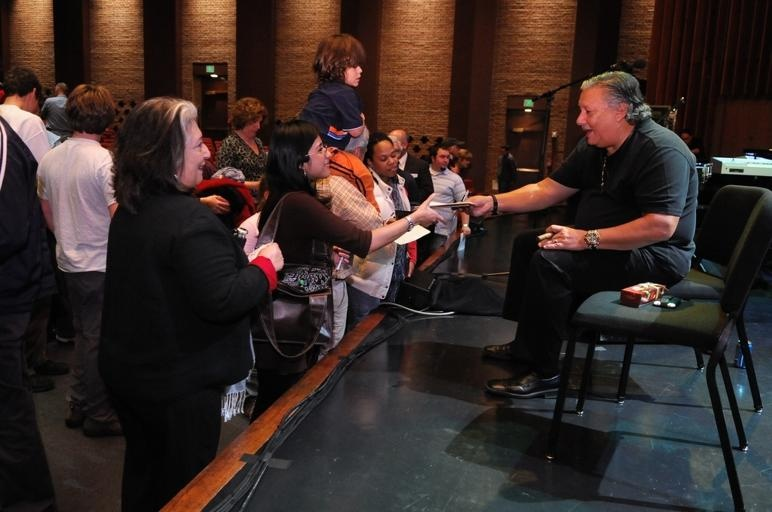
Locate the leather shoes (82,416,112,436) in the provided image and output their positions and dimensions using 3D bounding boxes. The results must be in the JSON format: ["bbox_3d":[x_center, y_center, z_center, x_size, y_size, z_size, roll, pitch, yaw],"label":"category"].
[{"bbox_3d":[-1.616,0.968,3.295,0.157,0.136,0.088,10,-11,-29],"label":"leather shoes"}]

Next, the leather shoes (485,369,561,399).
[{"bbox_3d":[0.729,0.689,3.129,0.399,0.111,0.143,0,3,-5],"label":"leather shoes"}]

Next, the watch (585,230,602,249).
[{"bbox_3d":[1.065,-0.079,3.001,0.071,0.092,0.093,2,3,15],"label":"watch"}]

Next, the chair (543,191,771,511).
[{"bbox_3d":[1.266,0.278,3.513,1.499,1.966,1.363,4,9,22],"label":"chair"}]

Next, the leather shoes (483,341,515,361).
[{"bbox_3d":[0.674,0.568,3.486,0.252,0.093,0.080,4,13,15],"label":"leather shoes"}]
